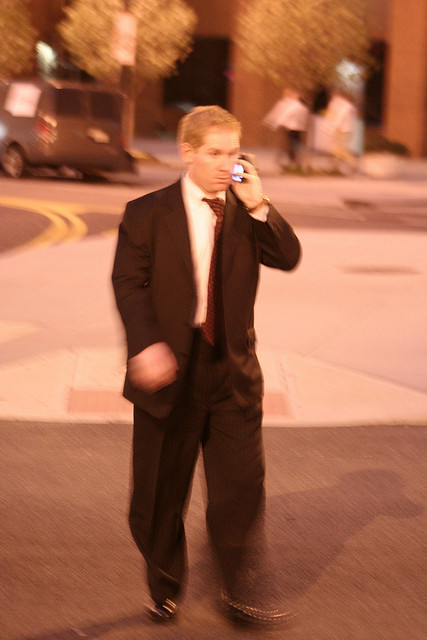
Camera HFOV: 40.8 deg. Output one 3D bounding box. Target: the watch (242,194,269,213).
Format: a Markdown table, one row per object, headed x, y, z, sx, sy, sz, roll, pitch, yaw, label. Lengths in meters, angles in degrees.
| x | y | z | sx | sy | sz | roll | pitch | yaw | label |
| --- | --- | --- | --- | --- | --- | --- | --- | --- | --- |
| 0.114 | -0.320 | 1.604 | 0.059 | 0.015 | 0.061 | -28 | -6 | 24 | watch |

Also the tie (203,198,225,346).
| x | y | z | sx | sy | sz | roll | pitch | yaw | label |
| --- | --- | --- | --- | --- | --- | --- | --- | --- | --- |
| -0.001 | -0.153 | 1.584 | 0.064 | 0.351 | 0.040 | 3 | -4 | -9 | tie |

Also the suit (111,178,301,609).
| x | y | z | sx | sy | sz | roll | pitch | yaw | label |
| --- | --- | --- | --- | --- | --- | --- | --- | --- | --- |
| -0.022 | 0.310 | 1.788 | 0.585 | 1.451 | 0.437 | 1 | 8 | -8 | suit |
